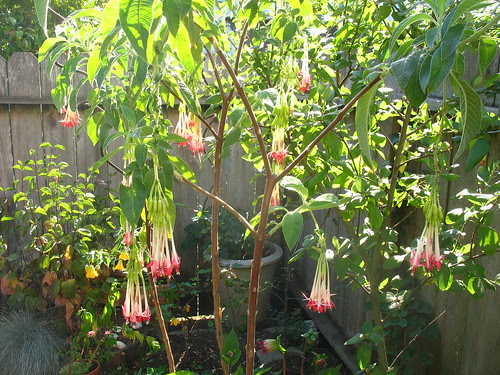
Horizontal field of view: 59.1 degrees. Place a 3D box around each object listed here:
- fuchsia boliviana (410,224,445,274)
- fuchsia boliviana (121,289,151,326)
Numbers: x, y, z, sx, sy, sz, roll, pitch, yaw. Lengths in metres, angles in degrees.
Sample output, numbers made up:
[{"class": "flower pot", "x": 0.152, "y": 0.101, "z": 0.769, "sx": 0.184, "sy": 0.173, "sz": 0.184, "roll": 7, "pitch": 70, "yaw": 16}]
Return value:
[{"class": "fuchsia boliviana", "x": 0.711, "y": 0.242, "z": 1.803, "sx": 0.109, "sy": 0.187, "sz": 0.261, "roll": -1, "pitch": -3, "yaw": 20}, {"class": "fuchsia boliviana", "x": -0.494, "y": 0.527, "z": 1.924, "sx": 0.104, "sy": 0.179, "sz": 0.222, "roll": 0, "pitch": -3, "yaw": -14}]
